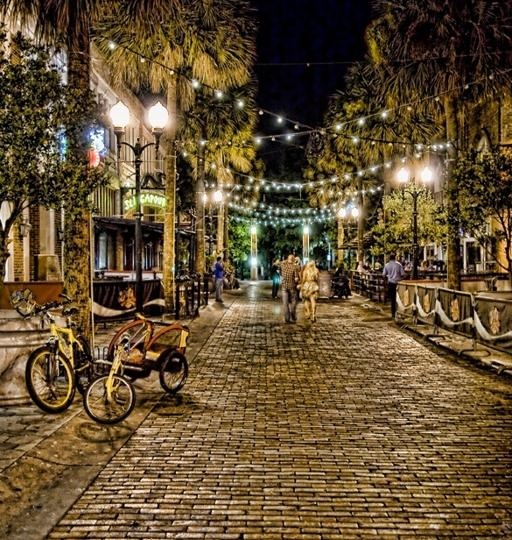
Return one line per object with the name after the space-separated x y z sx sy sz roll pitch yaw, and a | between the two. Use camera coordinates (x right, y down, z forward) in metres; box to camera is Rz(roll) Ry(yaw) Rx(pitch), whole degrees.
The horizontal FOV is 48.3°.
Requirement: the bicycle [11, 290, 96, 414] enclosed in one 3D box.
-2.699 1.020 7.016 0.705 1.577 1.938 -1 -1 4 | bicycle
